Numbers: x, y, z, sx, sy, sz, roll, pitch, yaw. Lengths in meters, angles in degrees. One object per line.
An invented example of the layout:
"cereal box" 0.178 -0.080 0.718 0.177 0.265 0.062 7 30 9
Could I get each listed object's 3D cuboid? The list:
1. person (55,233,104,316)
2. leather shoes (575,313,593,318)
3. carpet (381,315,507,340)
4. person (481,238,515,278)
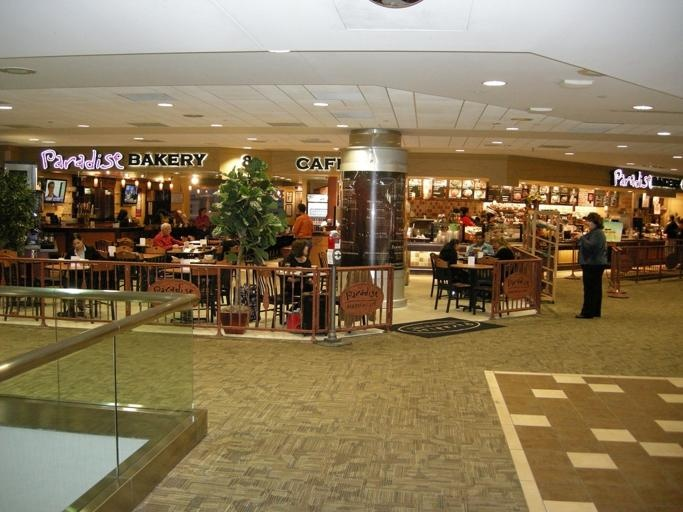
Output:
"person" -5.025 0.413 9.432 1.058 1.464 0.631 -2 -10 2
"leather shoes" 4.987 1.225 10.126 0.319 0.097 0.111 -2 2 12
"carpet" 1.847 1.288 9.065 1.914 0.033 1.187 -3 7 -34
"person" 3.583 0.085 11.118 0.826 0.995 0.509 1 -5 6
